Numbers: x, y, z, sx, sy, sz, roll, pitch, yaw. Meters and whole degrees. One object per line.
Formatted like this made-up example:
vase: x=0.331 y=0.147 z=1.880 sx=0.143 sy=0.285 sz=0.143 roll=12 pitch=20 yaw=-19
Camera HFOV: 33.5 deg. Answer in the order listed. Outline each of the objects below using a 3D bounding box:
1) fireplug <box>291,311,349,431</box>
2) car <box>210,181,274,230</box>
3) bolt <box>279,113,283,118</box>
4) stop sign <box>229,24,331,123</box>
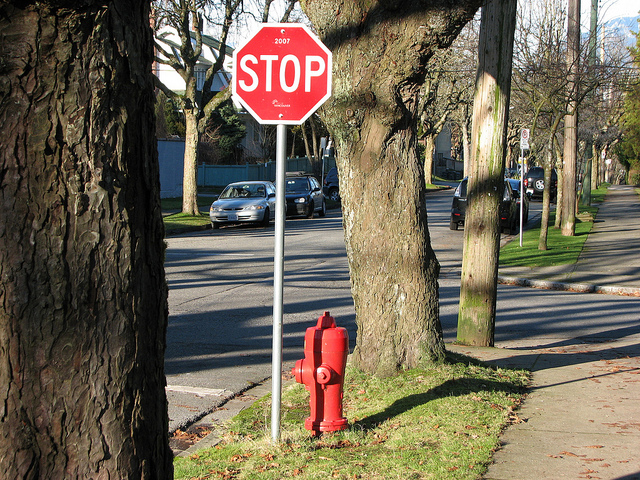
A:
fireplug: x=0.004 y=1.120 z=9.118 sx=0.464 sy=1.001 sz=0.253 roll=0 pitch=4 yaw=-2
car: x=-2.034 y=-1.044 z=28.717 sx=1.447 sy=1.437 sz=1.574 roll=1 pitch=6 yaw=9
bolt: x=-0.323 y=-1.030 z=8.777 sx=0.034 sy=0.041 sz=0.009 roll=0 pitch=0 yaw=-15
stop sign: x=-0.310 y=-1.379 z=8.802 sx=0.799 sy=0.806 sz=0.251 roll=0 pitch=4 yaw=-1
